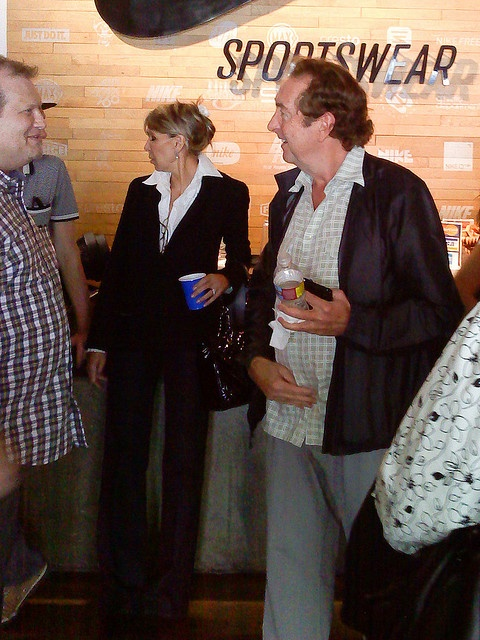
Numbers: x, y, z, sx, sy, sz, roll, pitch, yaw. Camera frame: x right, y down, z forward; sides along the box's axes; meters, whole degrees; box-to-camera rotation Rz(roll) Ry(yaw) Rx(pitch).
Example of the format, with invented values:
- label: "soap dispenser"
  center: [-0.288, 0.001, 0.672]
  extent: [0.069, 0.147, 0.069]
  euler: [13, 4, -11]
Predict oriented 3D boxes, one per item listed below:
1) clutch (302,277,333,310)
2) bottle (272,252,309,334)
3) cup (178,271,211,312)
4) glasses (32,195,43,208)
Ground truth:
- label: "clutch"
  center: [0.177, -0.056, 1.225]
  extent: [0.064, 0.042, 0.008]
  euler: [23, 27, -7]
- label: "bottle"
  center: [0.121, -0.061, 1.245]
  extent: [0.055, 0.184, 0.071]
  euler: [10, 55, 12]
- label: "cup"
  center: [-0.131, -0.105, 1.810]
  extent: [0.096, 0.124, 0.103]
  euler: [-8, 29, 5]
- label: "glasses"
  center: [-0.637, -0.362, 1.697]
  extent: [0.027, 0.035, 0.032]
  euler: [0, 35, -7]
